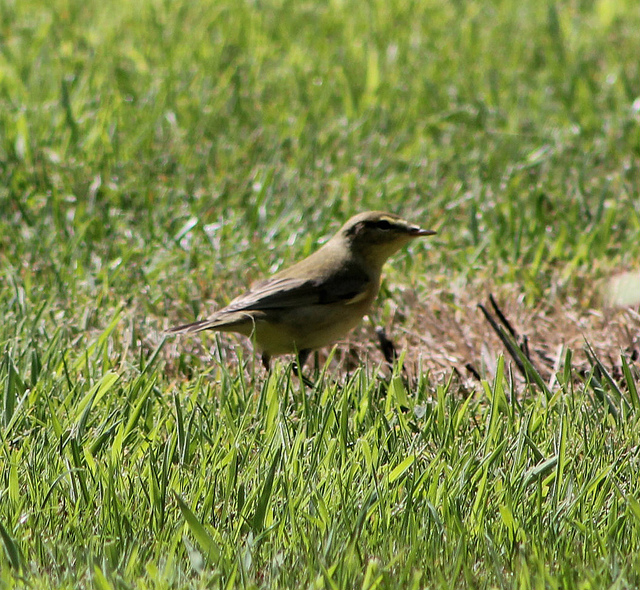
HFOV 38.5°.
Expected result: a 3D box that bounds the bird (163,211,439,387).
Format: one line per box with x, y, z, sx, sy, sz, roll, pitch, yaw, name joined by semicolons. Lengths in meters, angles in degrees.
-0.024;-0.088;4.589;1.021;0.902;0.560;20;3;-46;bird
